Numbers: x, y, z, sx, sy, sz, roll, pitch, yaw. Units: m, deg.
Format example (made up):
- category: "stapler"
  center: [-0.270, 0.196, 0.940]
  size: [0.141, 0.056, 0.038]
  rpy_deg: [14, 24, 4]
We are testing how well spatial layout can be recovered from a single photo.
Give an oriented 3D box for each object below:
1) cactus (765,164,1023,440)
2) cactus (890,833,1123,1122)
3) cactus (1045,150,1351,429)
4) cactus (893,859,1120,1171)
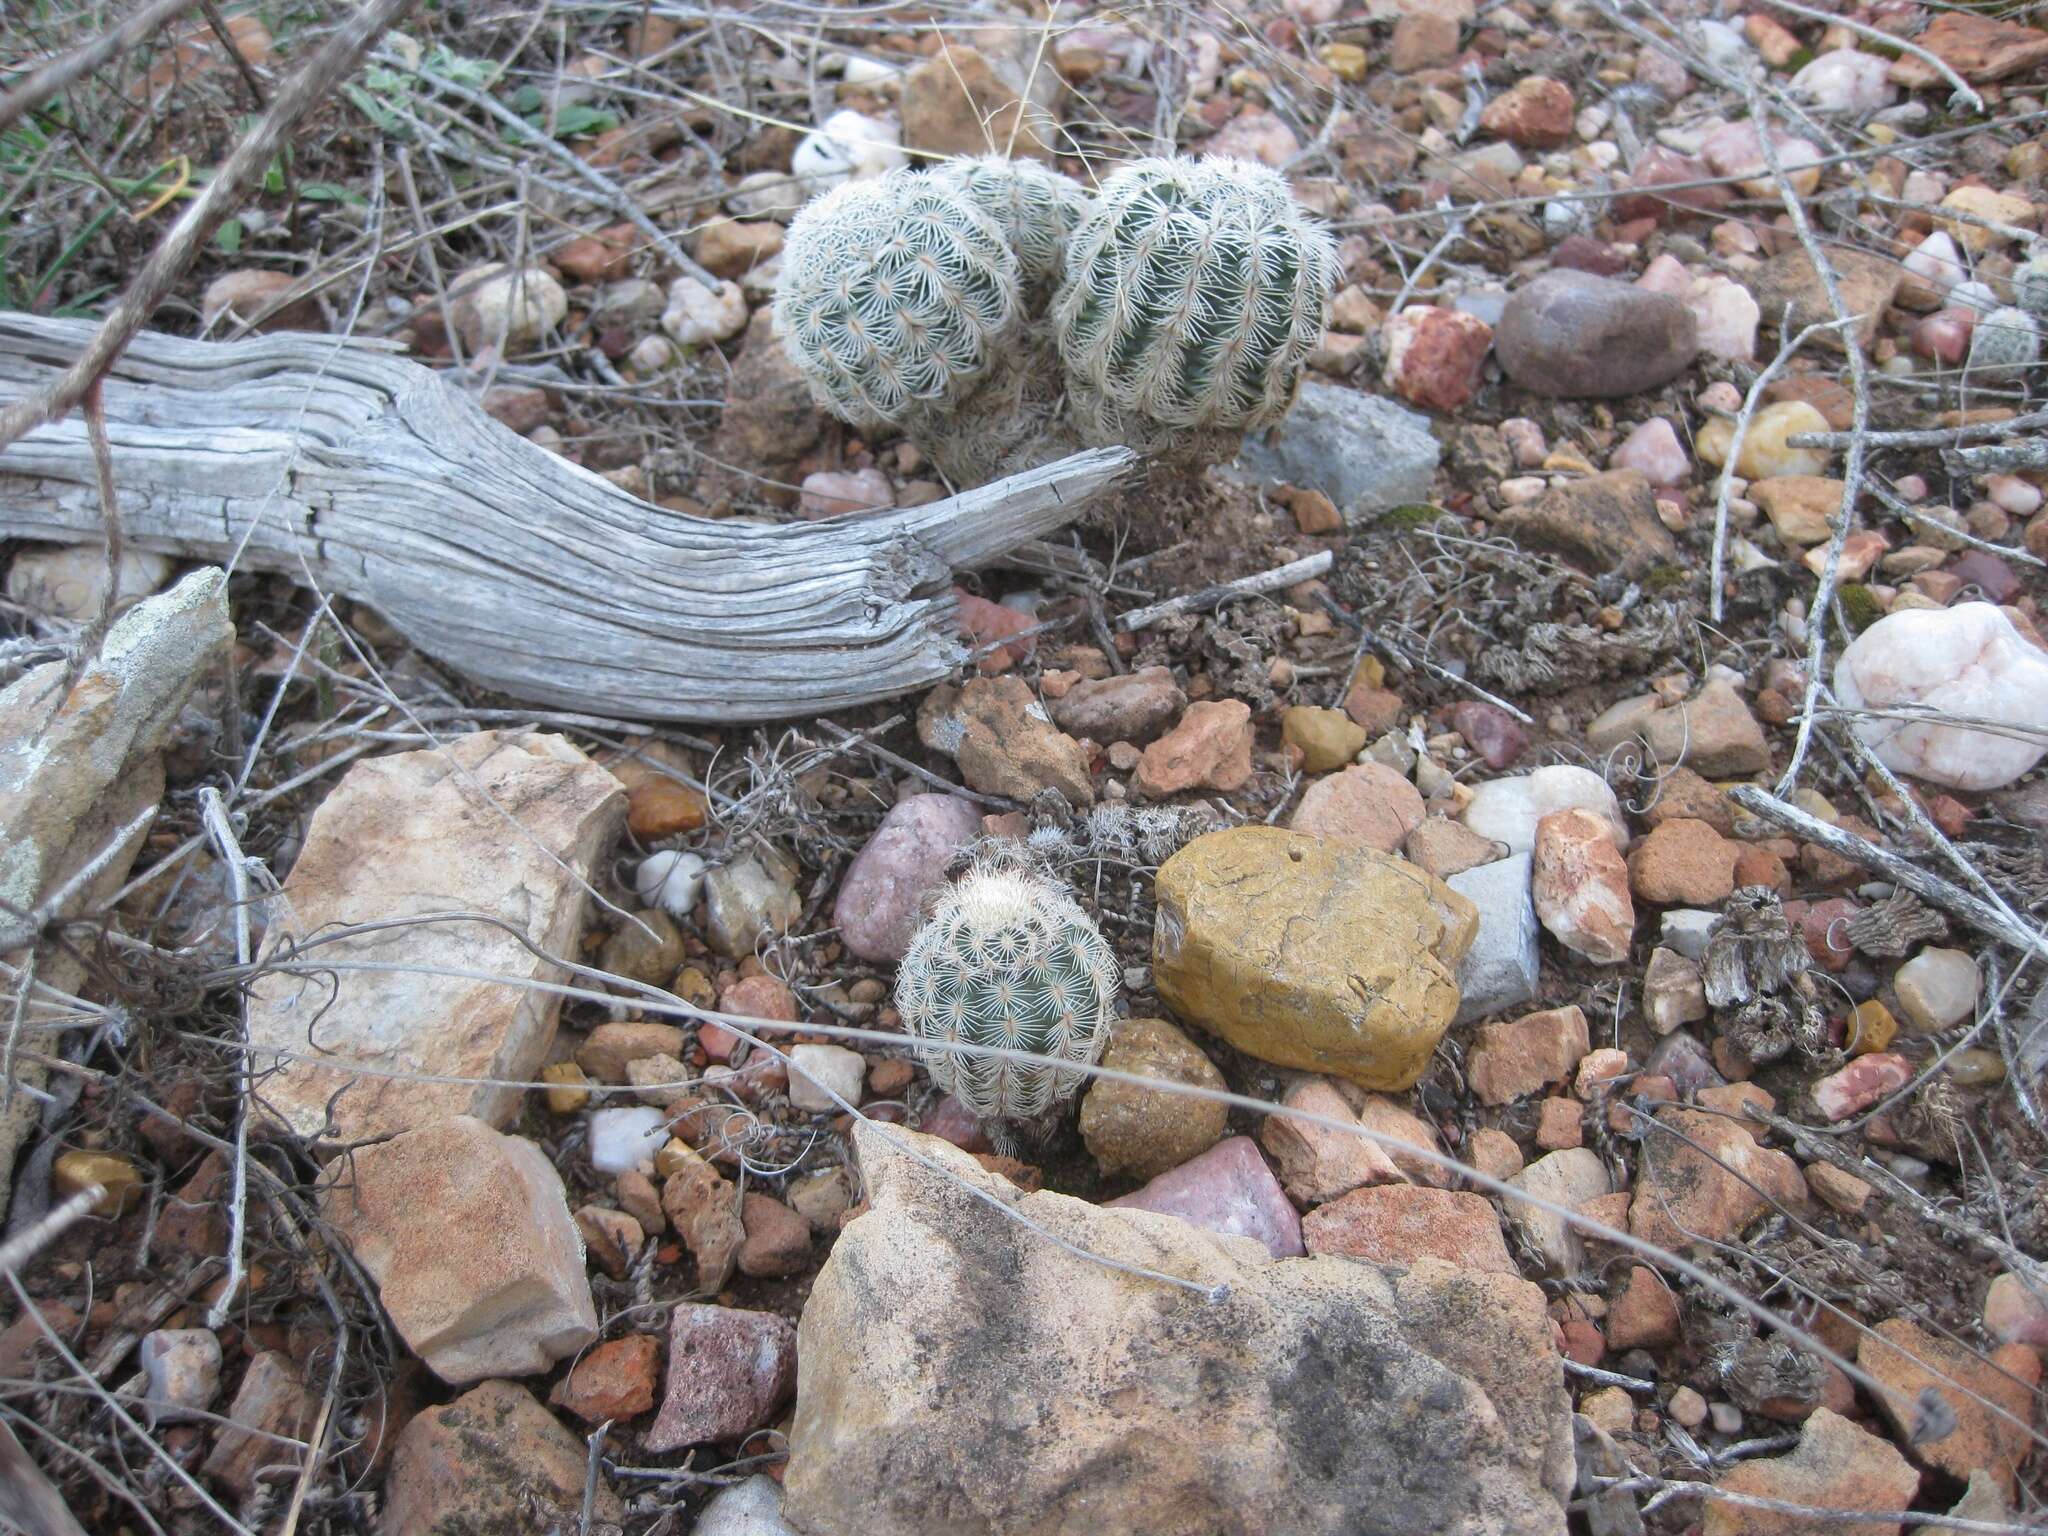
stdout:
- category: "cactus"
  center: [-0.273, -0.961, 3.553]
  size: [0.471, 0.430, 0.459]
  rpy_deg: [-13, 28, -10]
- category: "cactus"
  center: [-0.031, 0.341, 3.031]
  size: [0.410, 0.440, 0.415]
  rpy_deg: [-3, 9, -2]
- category: "cactus"
  center: [0.334, -0.945, 3.486]
  size: [0.509, 0.525, 0.517]
  rpy_deg: [11, 41, 12]
- category: "cactus"
  center: [-0.003, 0.402, 3.052]
  size: [0.417, 0.441, 0.424]
  rpy_deg: [-4, 15, -3]
